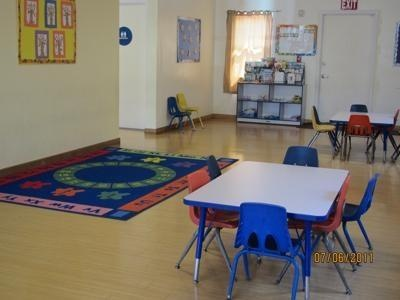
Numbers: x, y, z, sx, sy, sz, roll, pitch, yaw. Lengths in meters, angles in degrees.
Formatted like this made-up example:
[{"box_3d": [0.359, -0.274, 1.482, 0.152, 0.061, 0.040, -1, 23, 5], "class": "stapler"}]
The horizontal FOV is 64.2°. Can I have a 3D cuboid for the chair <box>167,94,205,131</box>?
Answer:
[{"box_3d": [-0.609, -1.144, 9.659, 0.978, 1.381, 0.987, 4, 12, 32], "class": "chair"}]

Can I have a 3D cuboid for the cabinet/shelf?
[{"box_3d": [2.420, -1.803, 10.532, 1.830, 1.821, 0.567, 3, 7, 20], "class": "cabinet/shelf"}]
